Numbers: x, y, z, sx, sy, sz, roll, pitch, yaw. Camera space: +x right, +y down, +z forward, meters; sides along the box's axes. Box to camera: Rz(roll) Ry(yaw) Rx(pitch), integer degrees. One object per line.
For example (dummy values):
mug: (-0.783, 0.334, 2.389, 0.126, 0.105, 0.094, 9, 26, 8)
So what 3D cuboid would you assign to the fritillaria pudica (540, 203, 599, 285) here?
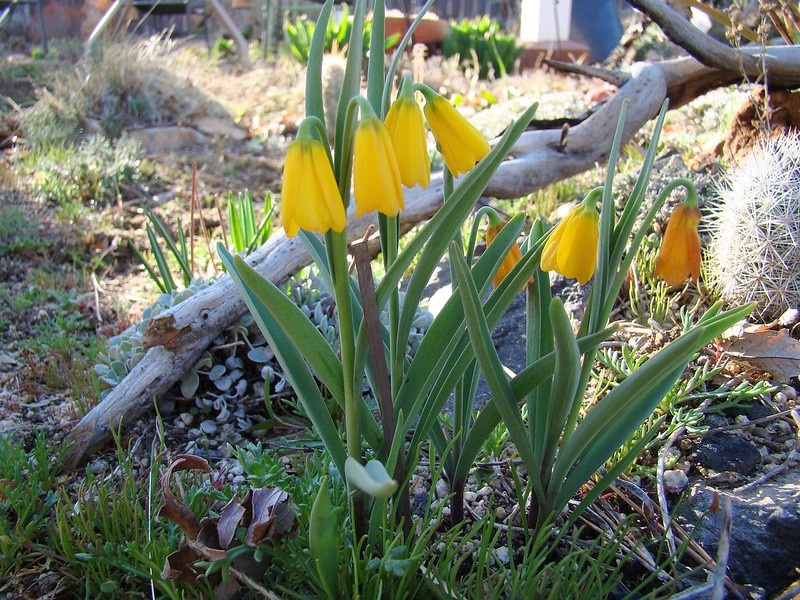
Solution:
fritillaria pudica: (0.530, -0.173, 2.266, 0.180, 0.232, 0.107, 5, 23, 4)

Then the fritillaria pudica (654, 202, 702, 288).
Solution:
fritillaria pudica: (0.885, -0.166, 2.321, 0.126, 0.256, 0.112, 14, 26, 25)

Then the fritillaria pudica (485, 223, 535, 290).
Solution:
fritillaria pudica: (0.373, -0.182, 2.456, 0.099, 0.246, 0.099, -39, 15, 35)

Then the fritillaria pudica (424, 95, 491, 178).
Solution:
fritillaria pudica: (0.147, -0.536, 2.247, 0.119, 0.308, 0.138, -31, -2, 21)

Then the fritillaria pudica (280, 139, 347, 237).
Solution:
fritillaria pudica: (-0.251, -0.312, 2.116, 0.187, 0.319, 0.165, 3, -20, -38)

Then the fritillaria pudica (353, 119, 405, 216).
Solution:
fritillaria pudica: (-0.058, -0.339, 2.048, 0.139, 0.287, 0.228, 1, 24, -3)
